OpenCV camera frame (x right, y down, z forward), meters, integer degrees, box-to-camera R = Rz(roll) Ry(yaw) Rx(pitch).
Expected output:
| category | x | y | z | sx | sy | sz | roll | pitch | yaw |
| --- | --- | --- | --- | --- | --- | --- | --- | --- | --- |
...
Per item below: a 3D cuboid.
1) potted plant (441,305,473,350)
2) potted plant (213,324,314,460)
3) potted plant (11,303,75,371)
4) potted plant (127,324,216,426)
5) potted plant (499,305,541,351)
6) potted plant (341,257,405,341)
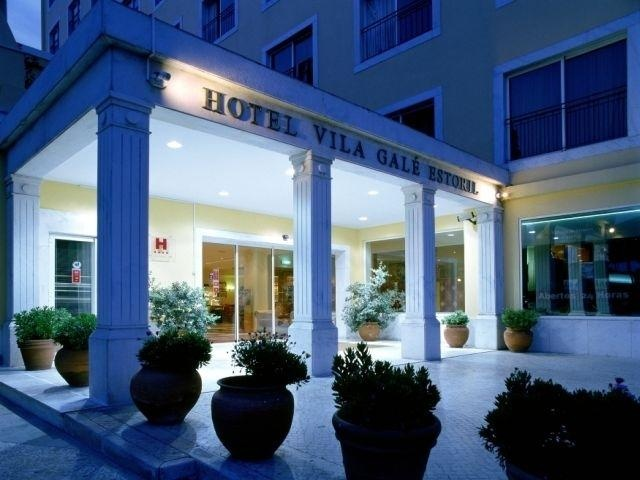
| category | x | y | z | sx | sy | sz | roll | pitch | yaw |
| --- | --- | --- | --- | --- | --- | --- | --- | --- | --- |
| potted plant | 3.921 | 2.528 | 13.837 | 0.797 | 0.982 | 0.565 | 3 | -5 | -32 |
| potted plant | -0.559 | 1.584 | 5.113 | 1.028 | 1.149 | 0.795 | -3 | -9 | 26 |
| potted plant | -5.366 | 1.901 | 9.343 | 0.967 | 1.101 | 0.787 | -13 | -19 | 38 |
| potted plant | -1.861 | 1.716 | 6.123 | 1.009 | 1.032 | 0.861 | 1 | -17 | -3 |
| potted plant | 5.251 | 2.354 | 12.806 | 1.069 | 1.172 | 1.055 | 5 | -9 | 0 |
| potted plant | 1.653 | 2.133 | 16.865 | 2.465 | 3.256 | 2.273 | 2 | -9 | -3 |
